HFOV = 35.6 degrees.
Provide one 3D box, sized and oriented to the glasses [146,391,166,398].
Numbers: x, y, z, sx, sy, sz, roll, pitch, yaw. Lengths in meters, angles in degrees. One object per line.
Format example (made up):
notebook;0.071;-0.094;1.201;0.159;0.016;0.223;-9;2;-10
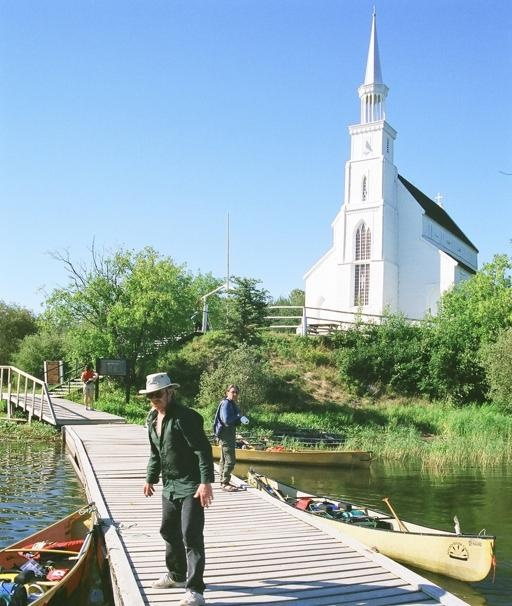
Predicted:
glasses;-1.091;1.029;8.782;0.190;0.086;0.122;2;-6;1

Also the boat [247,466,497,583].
boat;1.967;3.717;13.203;0.925;0.939;5.339;14;-5;-43

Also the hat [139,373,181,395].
hat;-1.070;0.891;8.894;0.292;0.135;0.338;-15;-10;9

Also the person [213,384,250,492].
person;-0.486;2.433;13.952;0.522;1.886;1.170;3;-6;-3

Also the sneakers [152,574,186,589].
sneakers;-1.014;3.252;9.192;0.401;0.166;0.146;5;-16;6
